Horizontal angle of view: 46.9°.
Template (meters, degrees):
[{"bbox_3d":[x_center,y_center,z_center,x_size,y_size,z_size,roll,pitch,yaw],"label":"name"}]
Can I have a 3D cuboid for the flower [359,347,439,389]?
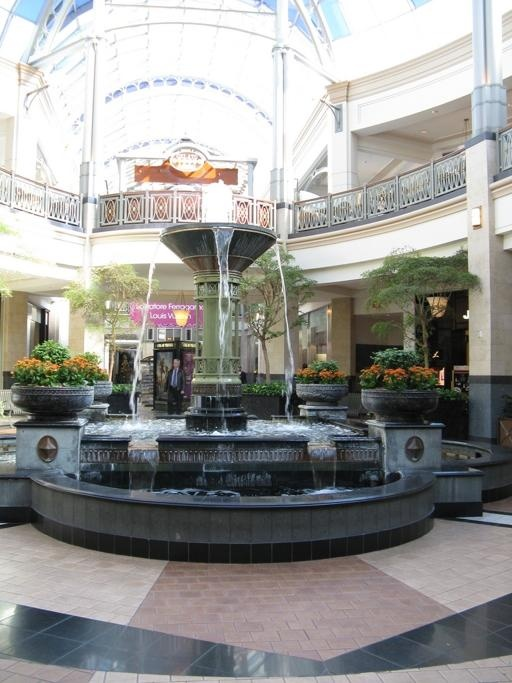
[{"bbox_3d":[1.577,0.326,6.604,0.824,0.479,0.664,3,-3,23],"label":"flower"}]

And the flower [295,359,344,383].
[{"bbox_3d":[1.249,0.604,11.123,0.563,0.319,0.541,-1,1,22],"label":"flower"}]

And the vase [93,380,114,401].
[{"bbox_3d":[-2.879,0.924,11.111,0.521,0.437,0.513,1,-5,-7],"label":"vase"}]

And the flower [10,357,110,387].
[{"bbox_3d":[-2.058,0.317,6.162,0.595,0.299,0.664,0,3,-3],"label":"flower"}]

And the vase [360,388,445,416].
[{"bbox_3d":[1.519,0.682,6.420,0.482,0.183,0.475,2,-5,-35],"label":"vase"}]
